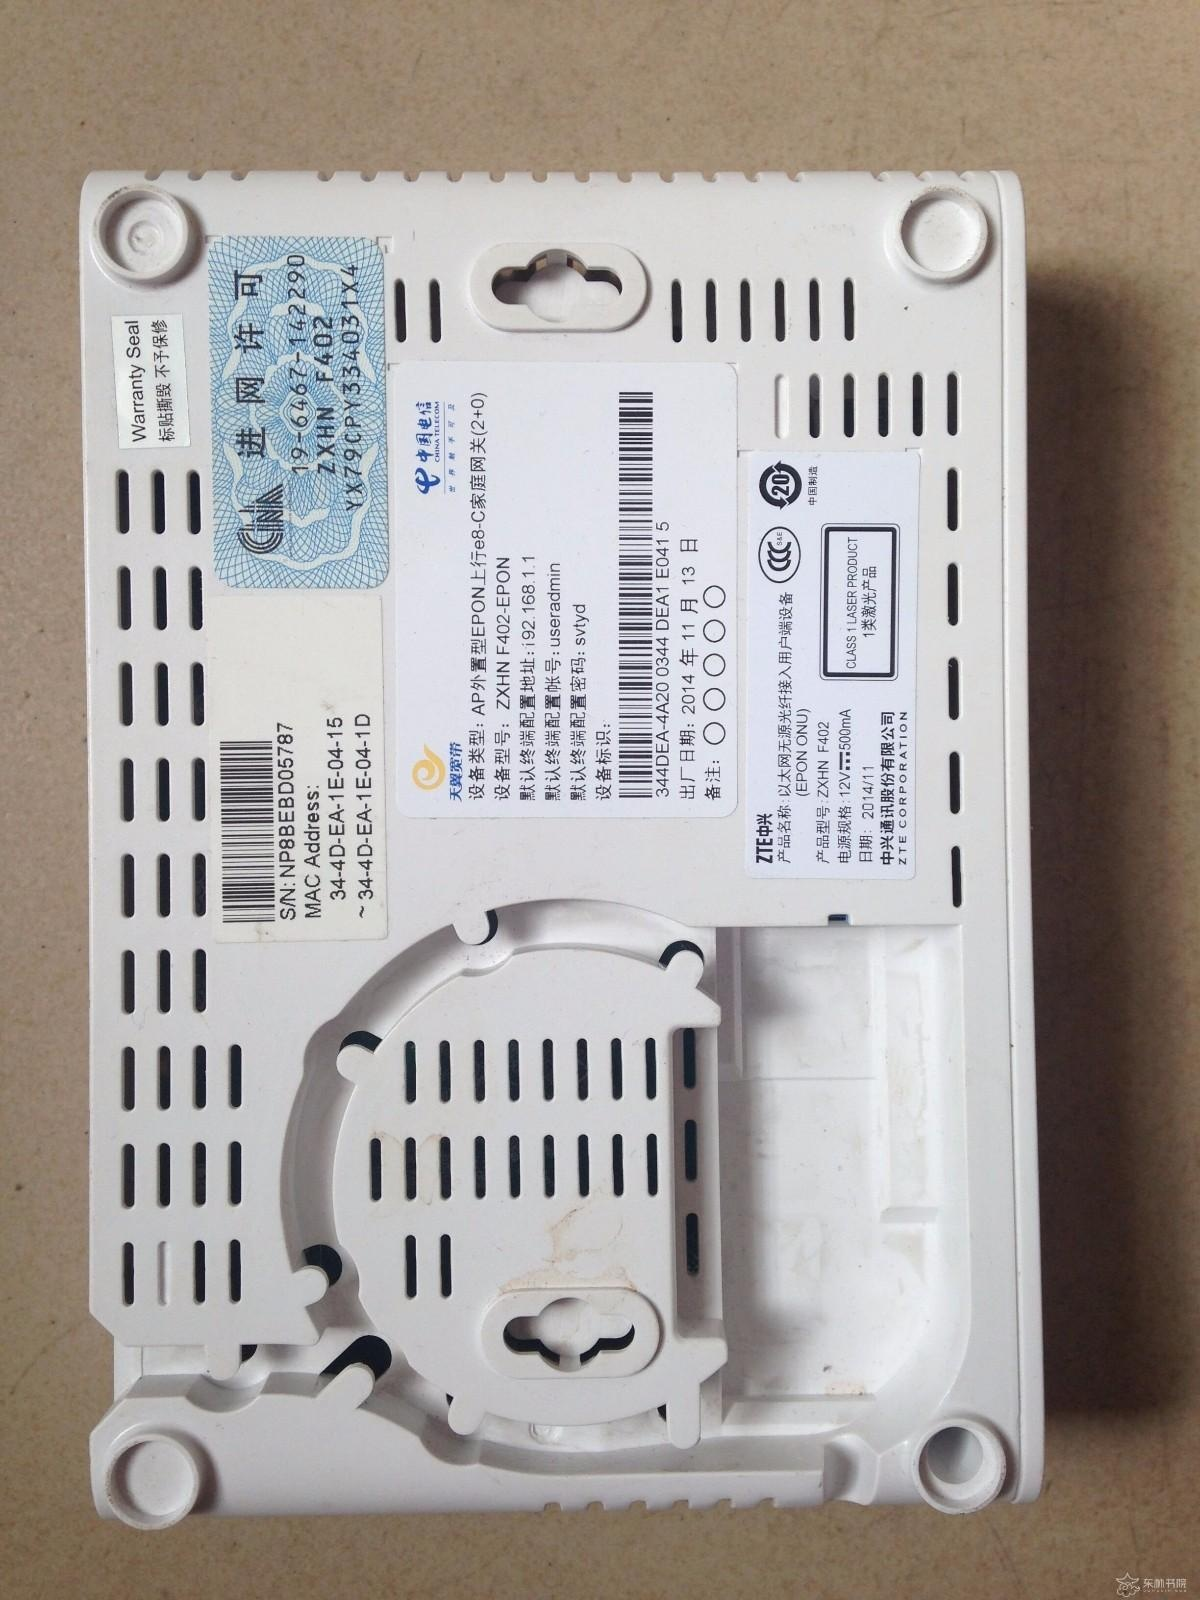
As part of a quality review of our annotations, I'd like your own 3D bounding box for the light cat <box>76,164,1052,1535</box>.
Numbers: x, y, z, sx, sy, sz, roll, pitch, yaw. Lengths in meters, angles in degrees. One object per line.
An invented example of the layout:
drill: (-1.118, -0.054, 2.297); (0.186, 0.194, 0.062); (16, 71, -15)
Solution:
light cat: (-0.019, 0.020, 1.516); (0.470, 0.127, 0.672); (-1, 81, -2)
